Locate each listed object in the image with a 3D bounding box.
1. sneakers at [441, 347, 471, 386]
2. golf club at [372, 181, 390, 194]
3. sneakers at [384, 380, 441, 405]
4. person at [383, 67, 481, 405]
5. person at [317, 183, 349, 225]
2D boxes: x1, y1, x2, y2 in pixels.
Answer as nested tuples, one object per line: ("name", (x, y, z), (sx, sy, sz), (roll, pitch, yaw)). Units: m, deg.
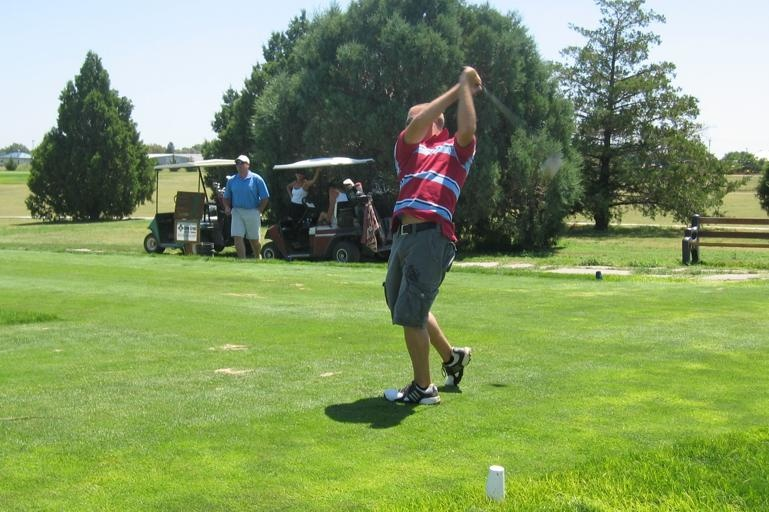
("sneakers", (0.582, 0.890, 6.383), (0.183, 0.388, 0.141), (3, 21, -12))
("golf club", (-0.104, -1.848, 21.470), (0.357, 0.197, 0.340), (-5, -8, 39))
("sneakers", (0.225, 1.065, 6.120), (0.438, 0.186, 0.168), (3, -7, 8))
("person", (0.327, -0.199, 6.242), (0.665, 2.513, 0.965), (4, 11, 18))
("person", (-1.114, -1.228, 17.613), (0.729, 1.030, 1.879), (0, 11, -5))
